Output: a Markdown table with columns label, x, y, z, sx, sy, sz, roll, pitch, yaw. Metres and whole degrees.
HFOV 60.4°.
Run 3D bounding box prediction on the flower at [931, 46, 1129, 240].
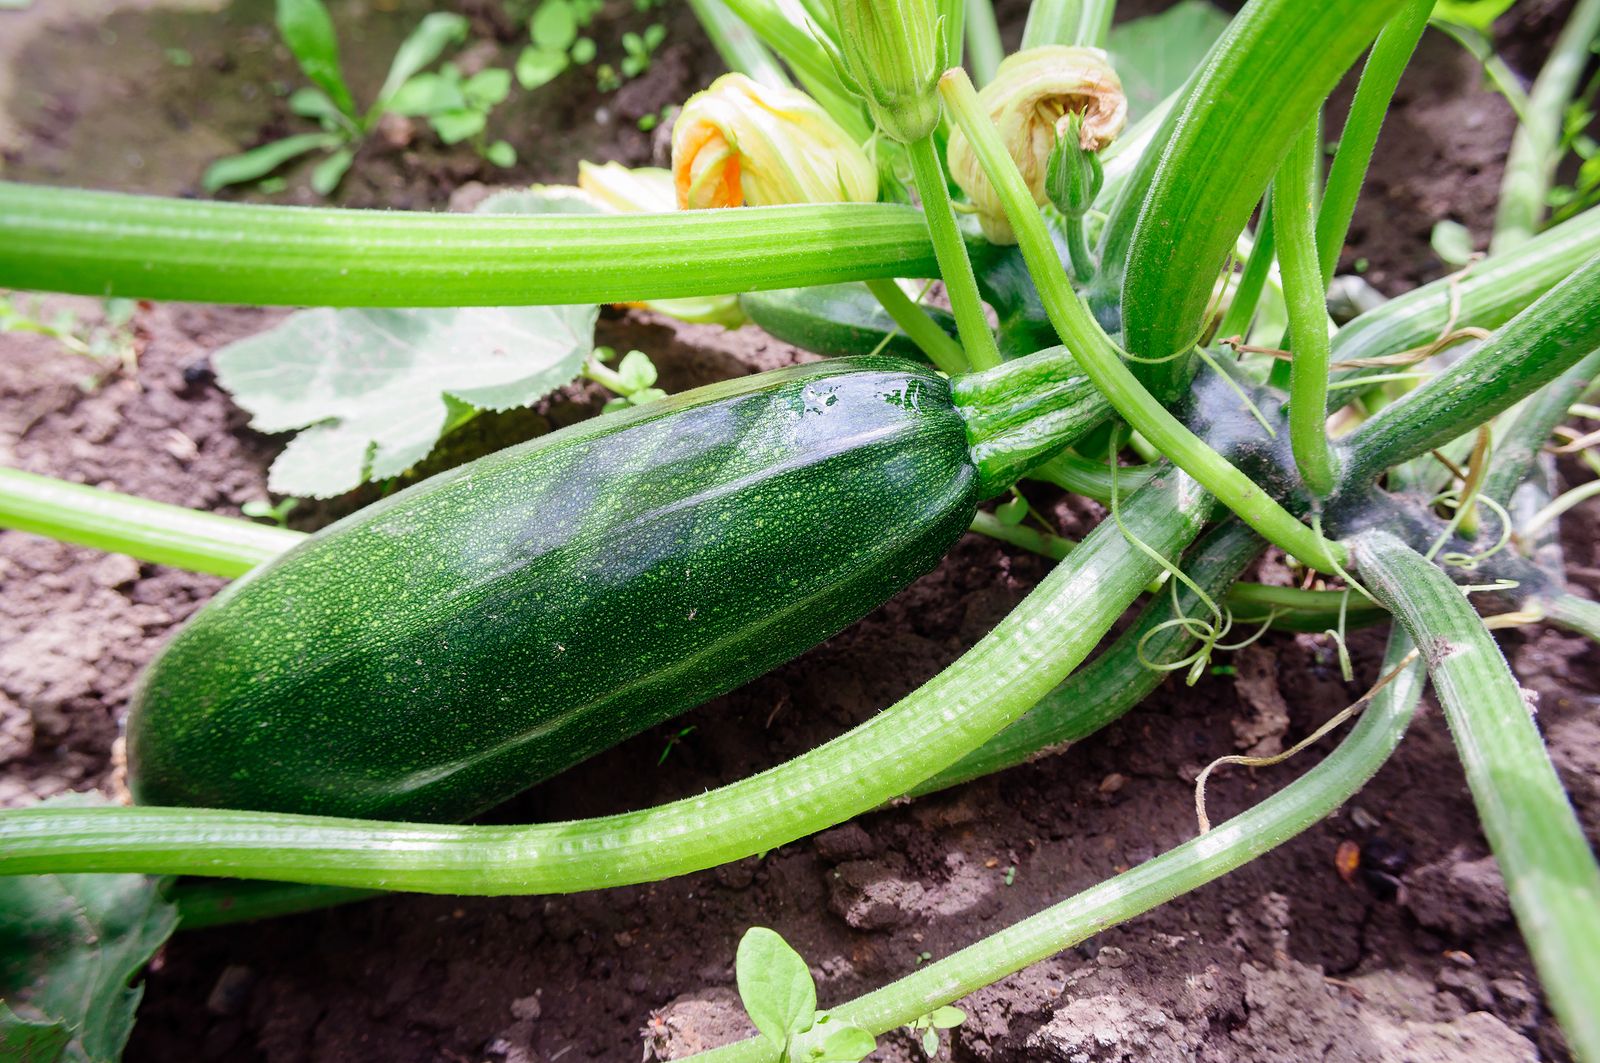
| label | x | y | z | sx | sy | sz | roll | pitch | yaw |
| --- | --- | --- | --- | --- | --- | --- | --- | --- | --- |
| flower | 0.372 | -0.693 | 2.355 | 0.365 | 0.167 | 0.298 | -34 | 69 | -28 |
